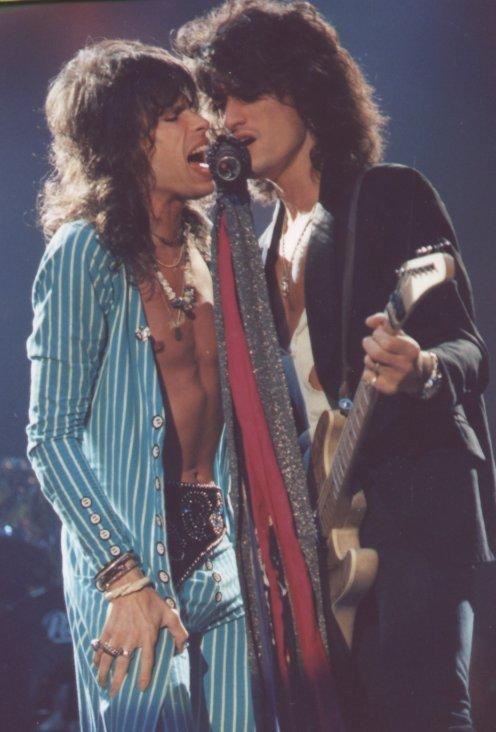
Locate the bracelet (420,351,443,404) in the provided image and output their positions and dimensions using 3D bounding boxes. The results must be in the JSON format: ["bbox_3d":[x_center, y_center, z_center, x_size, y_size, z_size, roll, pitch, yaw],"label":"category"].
[{"bbox_3d":[0.378,0.023,2.287,0.044,0.105,0.032,-1,12,42],"label":"bracelet"}]

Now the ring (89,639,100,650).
[{"bbox_3d":[-0.307,0.555,2.202,0.022,0.035,0.007,0,-4,37],"label":"ring"}]

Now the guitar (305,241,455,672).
[{"bbox_3d":[0.293,0.213,2.333,0.115,1.175,0.424,3,22,-11],"label":"guitar"}]

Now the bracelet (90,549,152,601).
[{"bbox_3d":[-0.245,0.403,2.113,0.074,0.037,0.097,-40,-12,35],"label":"bracelet"}]

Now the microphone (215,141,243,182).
[{"bbox_3d":[-0.041,-0.435,2.387,0.061,0.082,0.075,-8,24,0],"label":"microphone"}]

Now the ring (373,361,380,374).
[{"bbox_3d":[0.265,0.007,2.260,0.004,0.019,0.017,-1,5,-18],"label":"ring"}]

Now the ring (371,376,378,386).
[{"bbox_3d":[0.260,0.031,2.255,0.004,0.018,0.012,-3,9,-20],"label":"ring"}]

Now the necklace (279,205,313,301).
[{"bbox_3d":[0.116,-0.253,2.466,0.054,0.209,0.039,7,-10,28],"label":"necklace"}]
